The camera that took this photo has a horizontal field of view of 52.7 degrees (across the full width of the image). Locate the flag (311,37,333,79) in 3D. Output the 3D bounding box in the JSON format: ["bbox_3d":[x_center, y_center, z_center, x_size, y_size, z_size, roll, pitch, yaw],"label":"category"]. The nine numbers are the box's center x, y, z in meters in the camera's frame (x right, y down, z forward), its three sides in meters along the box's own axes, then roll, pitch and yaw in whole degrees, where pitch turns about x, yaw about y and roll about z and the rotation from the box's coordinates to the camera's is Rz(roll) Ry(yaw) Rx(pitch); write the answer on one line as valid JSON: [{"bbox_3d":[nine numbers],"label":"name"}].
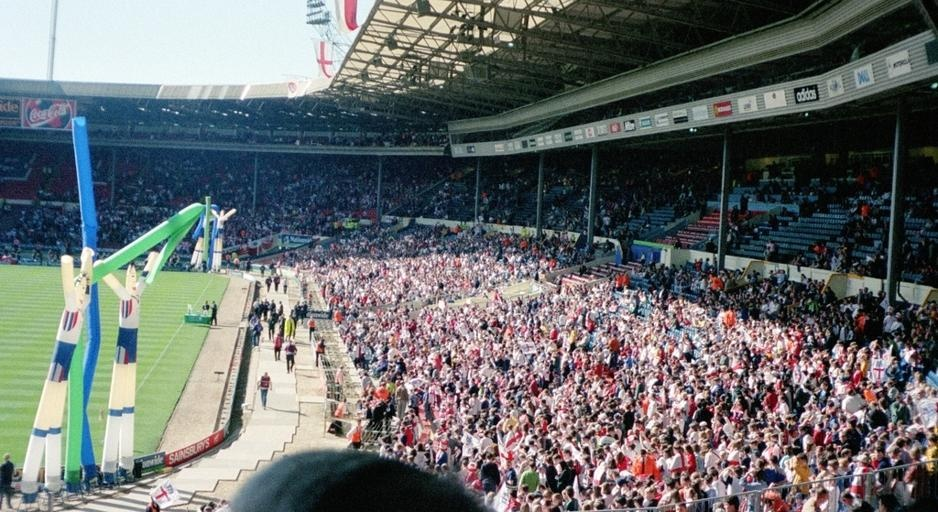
[{"bbox_3d":[-14.134,-19.044,91.885,1.666,3.618,2.073,3,4,5],"label":"flag"}]
